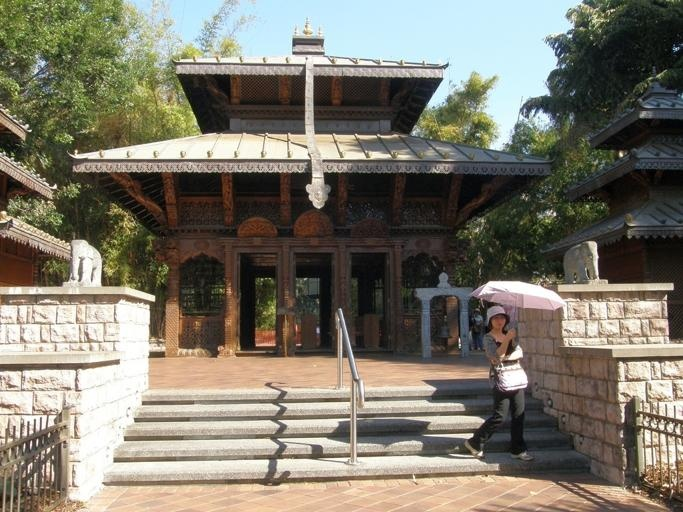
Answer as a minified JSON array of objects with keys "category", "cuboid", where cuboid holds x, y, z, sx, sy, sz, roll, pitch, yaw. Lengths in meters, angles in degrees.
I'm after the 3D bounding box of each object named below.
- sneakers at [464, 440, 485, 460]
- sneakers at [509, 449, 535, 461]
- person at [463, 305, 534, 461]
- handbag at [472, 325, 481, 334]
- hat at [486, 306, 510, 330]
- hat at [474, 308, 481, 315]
[{"category":"sneakers","cuboid":[2.391,3.498,14.516,0.206,0.183,0.509,9,-38,44]},{"category":"sneakers","cuboid":[3.239,3.571,14.439,0.390,0.193,0.161,1,1,6]},{"category":"person","cuboid":[2.829,2.283,14.440,0.998,2.726,0.679,-3,-9,13]},{"category":"handbag","cuboid":[4.731,2.604,28.285,0.241,0.335,0.338,2,-11,-1]},{"category":"hat","cuboid":[2.819,1.054,14.727,0.366,0.277,0.556,0,-30,3]},{"category":"hat","cuboid":[5.231,2.146,31.167,0.210,0.295,0.299,-8,-54,6]}]
